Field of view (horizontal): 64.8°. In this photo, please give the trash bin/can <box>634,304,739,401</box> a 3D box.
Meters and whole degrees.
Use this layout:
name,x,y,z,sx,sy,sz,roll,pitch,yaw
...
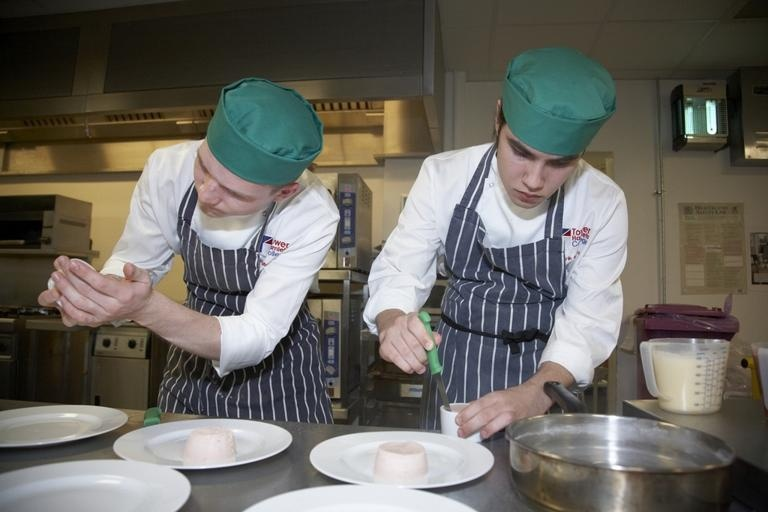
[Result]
name,x,y,z,sx,sy,sz,roll,pitch,yaw
trash bin/can,1.321,0.355,2.643,0.368,0.463,0.400,-7,14,13

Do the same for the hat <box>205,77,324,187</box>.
name,x,y,z,sx,sy,sz,roll,pitch,yaw
hat,-0.401,-0.358,2.043,0.360,0.339,0.190,30,-18,-15

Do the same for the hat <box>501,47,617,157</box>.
name,x,y,z,sx,sy,sz,roll,pitch,yaw
hat,0.548,-0.486,1.996,0.311,0.379,0.184,10,-34,-1

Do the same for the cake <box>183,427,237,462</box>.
name,x,y,z,sx,sy,sz,roll,pitch,yaw
cake,-0.498,0.528,1.709,0.134,0.070,0.139,1,0,10

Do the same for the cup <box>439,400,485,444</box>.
name,x,y,z,sx,sy,sz,roll,pitch,yaw
cup,0.217,0.482,1.778,0.103,0.082,0.108,0,-4,0

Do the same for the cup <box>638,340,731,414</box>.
name,x,y,z,sx,sy,sz,roll,pitch,yaw
cup,0.966,0.378,1.972,0.276,0.241,0.238,-4,4,-7

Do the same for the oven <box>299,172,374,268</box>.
name,x,y,z,sx,sy,sz,roll,pitch,yaw
oven,-0.270,-0.196,3.960,0.320,0.559,0.553,-1,-3,9
